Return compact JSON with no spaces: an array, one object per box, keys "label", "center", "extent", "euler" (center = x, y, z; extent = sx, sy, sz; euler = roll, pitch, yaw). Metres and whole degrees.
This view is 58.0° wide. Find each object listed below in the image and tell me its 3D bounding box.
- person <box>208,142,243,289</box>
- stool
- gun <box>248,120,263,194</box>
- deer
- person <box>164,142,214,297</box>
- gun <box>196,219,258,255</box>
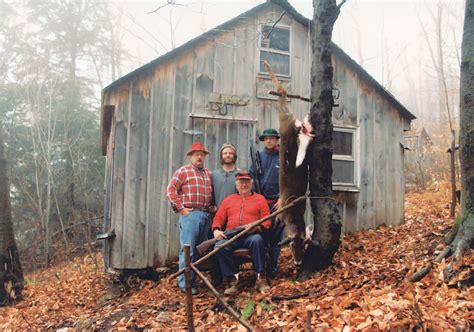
[{"label":"person","center":[-0.336,1.178,10.975],"extent":[0.695,3.459,0.689],"euler":[3,2,-4]},{"label":"stool","center":[0.394,2.094,10.491],"extent":[0.816,1.138,0.877],"euler":[1,0,-10]},{"label":"gun","center":[0.482,-0.180,11.007],"extent":[0.293,1.637,0.367],"euler":[2,3,-9]},{"label":"deer","center":[1.211,-0.075,10.359],"extent":[1.122,4.676,1.169],"euler":[4,3,1]},{"label":"person","center":[-1.130,1.319,11.056],"extent":[0.769,3.733,1.257],"euler":[0,0,40]},{"label":"gun","center":[-0.380,1.795,10.206],"extent":[1.116,0.676,0.357],"euler":[-2,-2,2]}]
